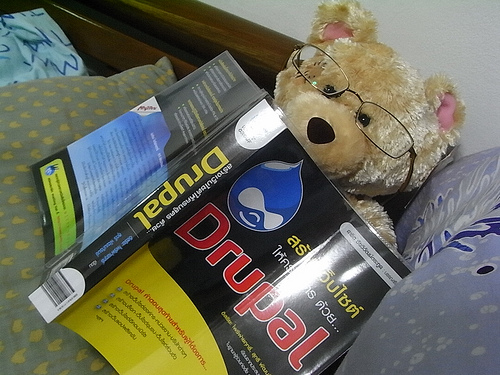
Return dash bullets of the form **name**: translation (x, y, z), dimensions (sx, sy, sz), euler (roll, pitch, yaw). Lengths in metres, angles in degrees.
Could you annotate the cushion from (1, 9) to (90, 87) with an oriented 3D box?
- **cushion**: translation (-0.475, -0.321, 0.992), dimensions (0.216, 0.210, 0.107), euler (27, -44, 22)
